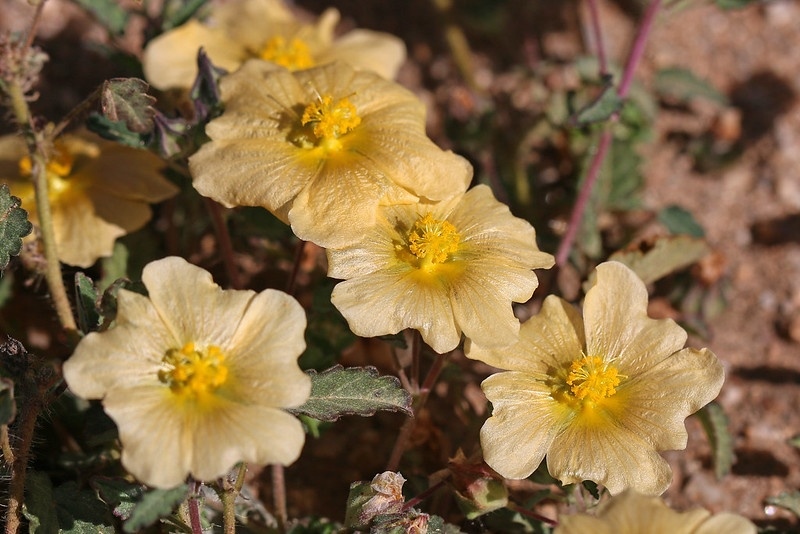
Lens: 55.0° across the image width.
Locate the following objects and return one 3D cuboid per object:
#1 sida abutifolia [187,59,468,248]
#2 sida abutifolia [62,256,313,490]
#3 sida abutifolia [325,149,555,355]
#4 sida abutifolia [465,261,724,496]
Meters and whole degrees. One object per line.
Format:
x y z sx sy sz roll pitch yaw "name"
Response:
-0.302 -0.419 2.896 0.740 0.256 0.821 16 55 -2 "sida abutifolia"
-0.693 0.364 2.650 0.814 0.249 0.829 -23 73 -40 "sida abutifolia"
0.118 0.024 2.805 0.637 0.241 0.721 -2 70 -8 "sida abutifolia"
0.666 0.459 3.057 0.662 1.021 1.043 1 89 2 "sida abutifolia"
